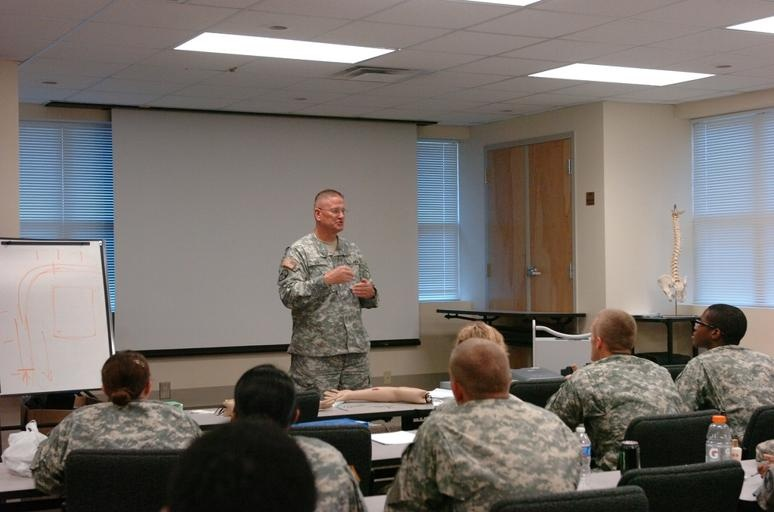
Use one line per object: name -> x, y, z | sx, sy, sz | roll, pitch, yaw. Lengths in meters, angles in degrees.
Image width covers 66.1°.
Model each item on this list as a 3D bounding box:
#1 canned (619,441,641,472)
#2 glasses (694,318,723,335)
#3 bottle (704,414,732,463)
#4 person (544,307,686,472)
canned -> 1.094, 0.895, 2.691 | 0.071, 0.141, 0.167 | -1, 1, 16
glasses -> 2.047, 0.447, 3.770 | 0.114, 0.030, 0.108 | 6, 10, -32
bottle -> 1.617, 0.868, 2.898 | 0.116, 0.244, 0.259 | -1, 1, 29
person -> 1.327, 0.842, 3.328 | 0.797, 0.989, 0.717 | -4, 0, 26
